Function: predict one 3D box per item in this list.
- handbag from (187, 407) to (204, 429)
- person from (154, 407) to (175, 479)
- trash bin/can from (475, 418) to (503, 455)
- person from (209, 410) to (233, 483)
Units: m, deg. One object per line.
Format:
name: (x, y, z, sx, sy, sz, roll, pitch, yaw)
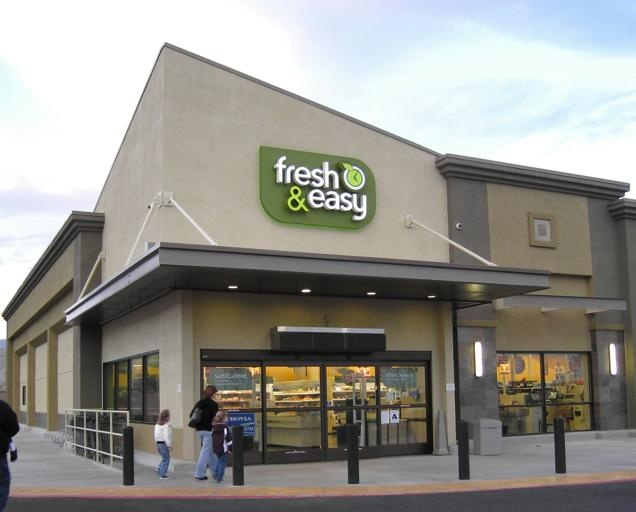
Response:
handbag: (-2.827, 3.723, 15.619, 0.279, 0.509, 0.509, 0, -14, -10)
person: (-3.570, 4.347, 15.575, 0.342, 1.515, 0.796, 1, -13, -14)
trash bin/can: (4.955, 5.266, 19.656, 0.801, 0.999, 0.503, -5, -13, 11)
person: (-2.158, 4.254, 15.188, 0.431, 1.589, 0.900, 0, -13, -8)
